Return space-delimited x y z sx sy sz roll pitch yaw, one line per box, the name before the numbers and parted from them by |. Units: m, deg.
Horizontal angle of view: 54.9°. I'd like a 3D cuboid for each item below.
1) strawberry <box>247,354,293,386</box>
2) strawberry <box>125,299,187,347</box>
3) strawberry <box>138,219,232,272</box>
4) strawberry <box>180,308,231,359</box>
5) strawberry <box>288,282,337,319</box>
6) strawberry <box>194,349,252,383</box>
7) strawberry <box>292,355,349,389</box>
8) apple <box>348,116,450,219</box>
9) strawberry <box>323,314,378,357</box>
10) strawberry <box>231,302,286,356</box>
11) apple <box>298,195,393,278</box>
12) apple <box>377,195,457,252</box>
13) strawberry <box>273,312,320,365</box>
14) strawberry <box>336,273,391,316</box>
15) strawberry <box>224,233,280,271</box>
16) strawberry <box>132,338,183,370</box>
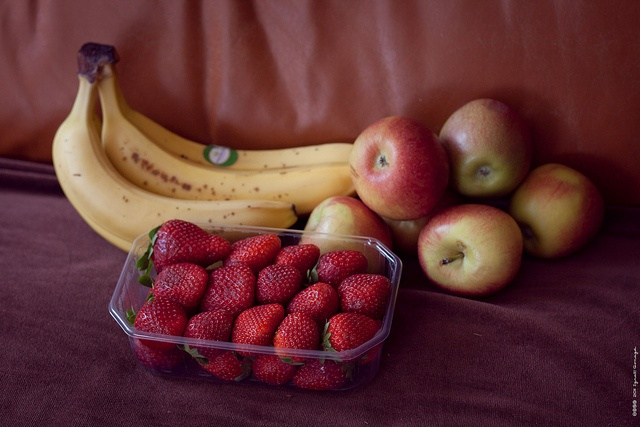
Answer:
strawberry | -0.112 0.362 1.428 0.074 0.052 0.070 6 -16 -5
strawberry | -0.374 0.250 1.438 0.122 0.067 0.086 2 30 -6
strawberry | -0.343 0.097 1.593 0.187 0.175 0.152 -6 -16 5
strawberry | -0.270 0.279 1.428 0.067 0.123 0.083 18 -34 -30
strawberry | -0.019 0.210 1.463 0.091 0.063 0.079 -13 20 14
strawberry | -0.228 0.343 1.440 0.100 0.076 0.069 3 3 4
strawberry | 0.002 0.376 1.428 0.106 0.071 0.073 -2 55 1
apple | 0.209 -0.114 1.652 0.268 0.251 0.127 11 29 12
strawberry | 0.068 0.274 1.425 0.124 0.107 0.087 -17 7 0
strawberry | -0.158 0.264 1.464 0.111 0.057 0.157 -4 20 19
apple | 0.068 0.026 1.685 0.186 0.230 0.205 5 12 6
apple | 0.275 -0.004 1.705 0.155 0.186 0.156 8 4 24
strawberry | -0.062 0.284 1.454 0.101 0.086 0.147 1 30 -1
strawberry | 0.112 0.195 1.538 0.092 0.106 0.104 -26 -17 17
strawberry | -0.175 0.095 1.622 0.157 0.073 0.141 0 19 33
strawberry | -0.382 0.344 1.465 0.094 0.052 0.083 5 1 22
